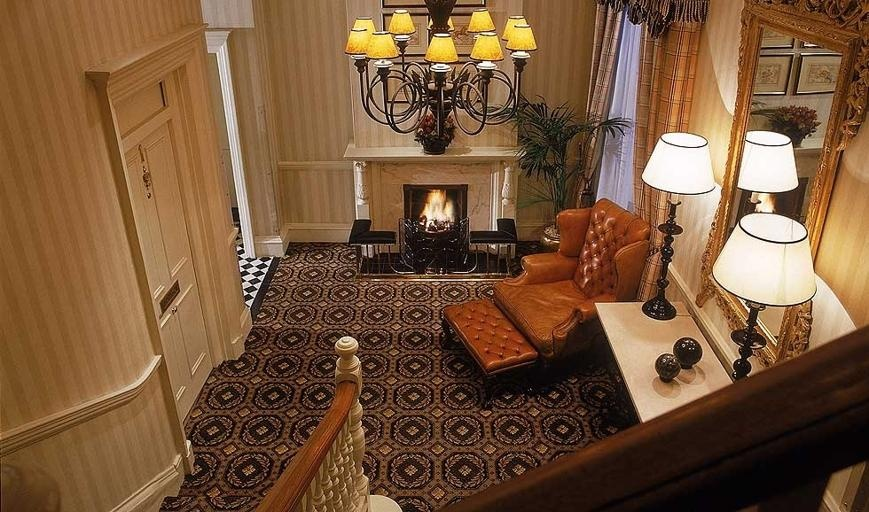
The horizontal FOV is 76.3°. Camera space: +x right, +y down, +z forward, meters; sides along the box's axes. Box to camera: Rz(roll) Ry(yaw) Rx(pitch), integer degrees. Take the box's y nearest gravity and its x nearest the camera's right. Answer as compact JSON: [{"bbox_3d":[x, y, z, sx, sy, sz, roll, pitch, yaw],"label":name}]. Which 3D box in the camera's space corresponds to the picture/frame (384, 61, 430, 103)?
[{"bbox_3d":[-0.335,-1.712,5.713,0.503,0.190,0.399,10,5,-28],"label":"picture/frame"}]

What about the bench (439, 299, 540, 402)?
[{"bbox_3d":[0.582,0.921,5.764,0.675,0.479,1.002,-13,37,-24],"label":"bench"}]

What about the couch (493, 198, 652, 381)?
[{"bbox_3d":[1.393,0.307,5.826,1.412,1.457,1.176,-9,31,-9],"label":"couch"}]

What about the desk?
[{"bbox_3d":[1.660,0.709,3.985,0.612,0.751,1.072,-6,37,9],"label":"desk"}]

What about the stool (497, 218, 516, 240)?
[{"bbox_3d":[0.954,-0.371,7.293,0.245,0.326,0.274,-3,26,-3],"label":"stool"}]

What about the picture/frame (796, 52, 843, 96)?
[{"bbox_3d":[2.273,-1.072,3.245,0.326,0.217,0.025,-5,10,-11],"label":"picture/frame"}]

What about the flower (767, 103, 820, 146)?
[{"bbox_3d":[2.228,-0.818,3.444,0.237,0.212,0.222,1,35,7],"label":"flower"}]

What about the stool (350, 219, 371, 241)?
[{"bbox_3d":[-0.959,-0.330,7.277,0.264,0.094,0.388,7,58,-1],"label":"stool"}]
